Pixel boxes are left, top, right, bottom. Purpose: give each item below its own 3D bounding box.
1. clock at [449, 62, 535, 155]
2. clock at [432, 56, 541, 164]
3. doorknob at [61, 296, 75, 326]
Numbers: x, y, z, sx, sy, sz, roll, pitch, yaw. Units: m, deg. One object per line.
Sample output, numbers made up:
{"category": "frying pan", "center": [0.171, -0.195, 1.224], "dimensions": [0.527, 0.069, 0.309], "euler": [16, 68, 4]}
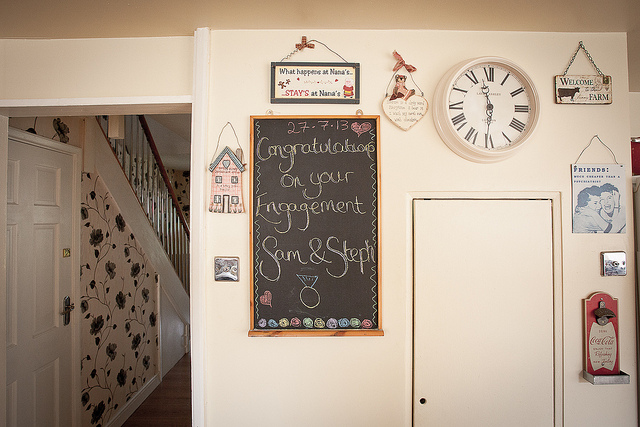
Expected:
{"category": "clock", "center": [1.144, -0.717, 3.691], "dimensions": [0.584, 0.599, 0.147], "euler": [11, 0, -8]}
{"category": "clock", "center": [1.109, -0.701, 3.698], "dimensions": [0.676, 0.667, 0.103], "euler": [1, -2, -2]}
{"category": "doorknob", "center": [-1.946, 0.756, 4.272], "dimensions": [0.024, 0.227, 0.091], "euler": [0, -2, 34]}
